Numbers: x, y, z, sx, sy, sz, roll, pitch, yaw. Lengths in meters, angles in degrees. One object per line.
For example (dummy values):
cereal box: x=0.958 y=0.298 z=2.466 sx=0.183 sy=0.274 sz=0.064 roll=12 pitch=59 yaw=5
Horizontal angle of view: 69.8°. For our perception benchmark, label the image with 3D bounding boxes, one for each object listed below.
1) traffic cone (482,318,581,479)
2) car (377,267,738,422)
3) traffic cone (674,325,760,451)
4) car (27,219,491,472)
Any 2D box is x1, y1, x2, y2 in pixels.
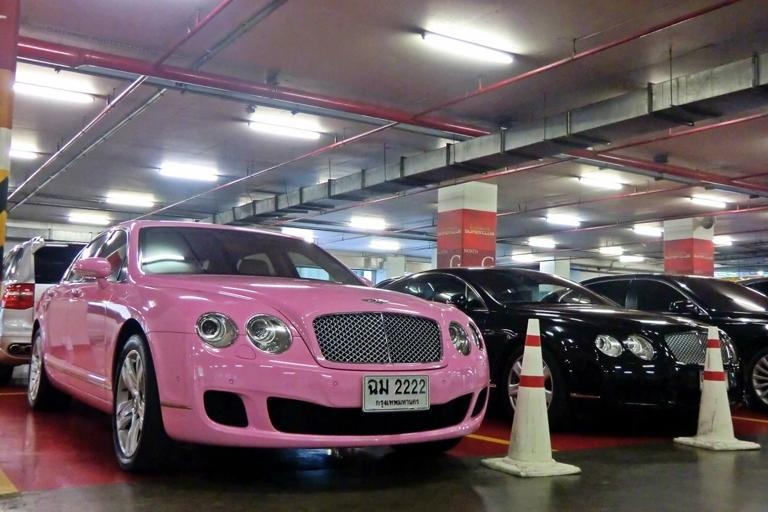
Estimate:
traffic cone: x=1.114 y=1.041 z=4.138 sx=0.715 sy=1.112 sz=0.397 roll=1 pitch=-5 yaw=9
car: x=1.686 y=0.845 z=6.173 sx=1.507 sy=0.999 sz=3.455 roll=5 pitch=-6 yaw=-41
traffic cone: x=3.037 y=1.199 z=5.059 sx=0.648 sy=1.061 sz=0.372 roll=3 pitch=-5 yaw=-11
car: x=-1.234 y=0.610 z=4.519 sx=3.558 sy=1.876 sz=1.744 roll=-2 pitch=-6 yaw=35
